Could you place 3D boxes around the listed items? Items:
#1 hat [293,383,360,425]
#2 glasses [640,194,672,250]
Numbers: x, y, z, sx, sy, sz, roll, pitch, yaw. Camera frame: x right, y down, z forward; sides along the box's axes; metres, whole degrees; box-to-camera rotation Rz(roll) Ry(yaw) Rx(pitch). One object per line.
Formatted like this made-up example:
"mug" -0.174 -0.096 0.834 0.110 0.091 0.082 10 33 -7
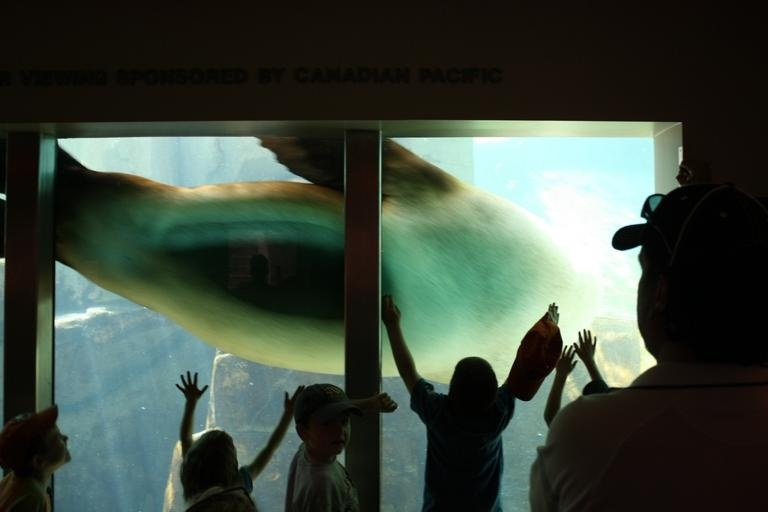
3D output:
"hat" -0.325 0.813 4.284 0.297 0.150 0.219 -18 -14 32
"glasses" 1.241 -0.161 3.534 0.125 0.233 0.177 -8 -2 -42
